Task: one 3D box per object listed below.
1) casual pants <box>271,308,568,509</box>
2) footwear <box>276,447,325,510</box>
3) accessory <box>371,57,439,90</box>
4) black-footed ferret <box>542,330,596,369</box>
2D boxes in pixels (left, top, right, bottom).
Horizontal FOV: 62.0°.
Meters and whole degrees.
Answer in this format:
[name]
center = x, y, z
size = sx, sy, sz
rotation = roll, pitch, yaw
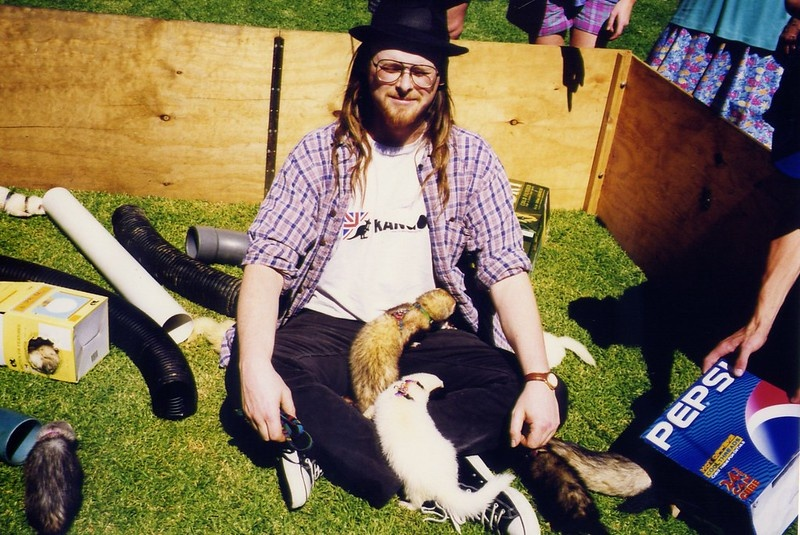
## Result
[casual pants]
center = -0.019, 0.722, 3.680
size = 1.092, 0.354, 1.242
rotation = -2, 27, -36
[footwear]
center = -0.546, 1.142, 3.636
size = 0.169, 0.142, 0.389
rotation = 27, 49, -50
[accessory]
center = 0.022, -1.090, 3.737
size = 0.351, 0.134, 0.074
rotation = 8, 31, -3
[black-footed ferret]
center = 1.122, 0.561, 4.524
size = 0.333, 0.112, 0.206
rotation = 18, 23, 27
